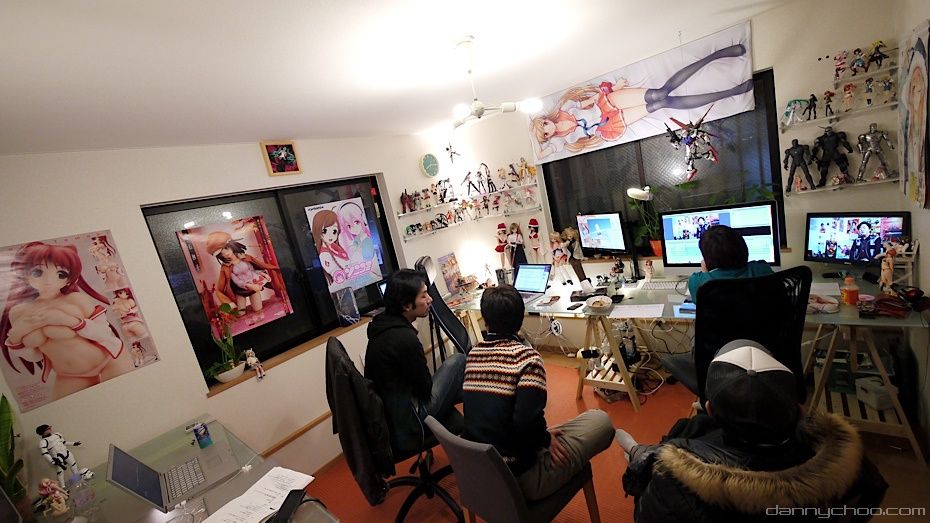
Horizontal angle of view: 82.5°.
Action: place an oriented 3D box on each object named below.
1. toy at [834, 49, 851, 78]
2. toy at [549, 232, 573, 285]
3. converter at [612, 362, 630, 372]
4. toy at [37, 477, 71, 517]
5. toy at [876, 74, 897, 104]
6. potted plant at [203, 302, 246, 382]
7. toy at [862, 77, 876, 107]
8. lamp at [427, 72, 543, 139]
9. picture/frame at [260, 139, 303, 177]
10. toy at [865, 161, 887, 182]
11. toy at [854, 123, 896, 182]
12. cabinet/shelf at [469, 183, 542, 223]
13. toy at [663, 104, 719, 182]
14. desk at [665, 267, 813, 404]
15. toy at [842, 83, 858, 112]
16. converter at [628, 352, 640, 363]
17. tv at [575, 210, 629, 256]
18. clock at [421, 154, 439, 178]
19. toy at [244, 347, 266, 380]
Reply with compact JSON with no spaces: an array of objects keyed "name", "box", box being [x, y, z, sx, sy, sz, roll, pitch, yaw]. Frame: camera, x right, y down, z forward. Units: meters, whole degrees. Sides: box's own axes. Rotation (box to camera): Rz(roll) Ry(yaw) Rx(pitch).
[{"name":"toy","box":[3.298,-1.733,4.642,0.127,0.231,0.061,-7,9,27]},{"name":"toy","box":[1.064,-0.041,5.943,0.259,0.603,0.184,-14,3,-24]},{"name":"converter","box":[1.566,1.056,5.297,0.142,0.090,0.139,-1,4,8]},{"name":"toy","box":[-3.070,1.780,4.038,0.144,0.271,0.238,-8,-19,-41]},{"name":"toy","box":[3.596,-1.483,4.527,0.057,0.191,0.219,1,5,-5]},{"name":"potted plant","box":[-2.265,0.765,4.968,0.383,0.605,0.215,-15,8,-26]},{"name":"toy","box":[3.491,-1.467,4.586,0.083,0.229,0.062,-16,9,-28]},{"name":"lamp","box":[0.064,-1.582,4.809,0.658,0.580,0.535,-12,-2,-14]},{"name":"picture/frame","box":[-1.814,-1.032,5.295,0.420,0.370,0.028,3,19,21]},{"name":"toy","box":[3.614,-0.782,4.637,0.094,0.215,0.072,25,-22,-36]},{"name":"toy","box":[3.567,-0.963,4.637,0.275,0.490,0.086,-6,10,34]},{"name":"cabinet/shelf","box":[0.516,-0.792,6.560,0.168,0.337,1.129,-9,6,-43]},{"name":"toy","box":[2.266,-1.159,5.287,0.444,0.691,0.290,-8,8,23]},{"name":"desk","box":[2.225,0.563,4.252,1.006,1.380,1.091,-1,0,3]},{"name":"toy","box":[3.379,-1.450,4.666,0.105,0.225,0.048,-7,9,31]},{"name":"converter","box":[1.772,1.002,5.539,0.095,0.044,0.131,-17,-10,17]},{"name":"tv","box":[1.484,-0.291,5.687,0.120,0.488,0.712,-15,9,-25]},{"name":"clock","box":[-0.437,-1.177,6.463,0.049,0.271,0.296,-1,13,38]},{"name":"toy","box":[-1.994,0.988,5.051,0.150,0.232,0.112,-14,8,-22]}]
